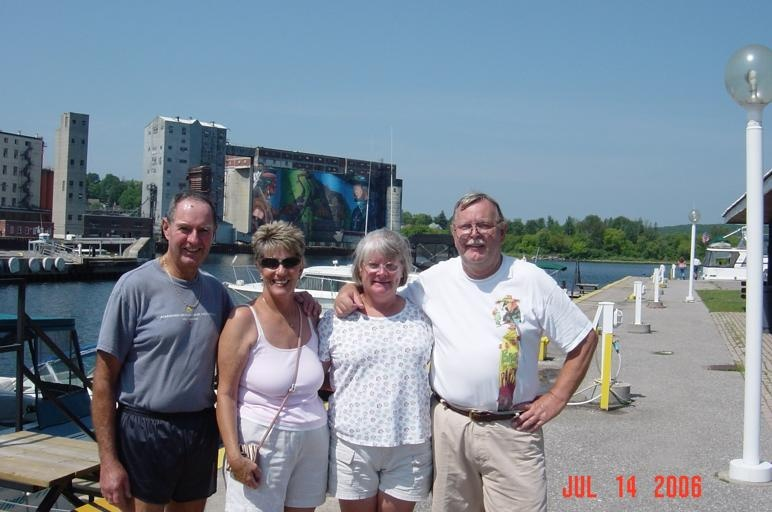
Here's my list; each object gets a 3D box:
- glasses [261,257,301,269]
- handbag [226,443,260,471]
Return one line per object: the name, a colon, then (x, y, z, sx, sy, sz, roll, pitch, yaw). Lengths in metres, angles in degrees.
glasses: (-0.976, 0.070, 7.076, 0.356, 0.117, 0.075, 2, -3, -12)
handbag: (-1.285, 1.808, 6.914, 0.080, 0.233, 0.226, -4, -19, 43)
